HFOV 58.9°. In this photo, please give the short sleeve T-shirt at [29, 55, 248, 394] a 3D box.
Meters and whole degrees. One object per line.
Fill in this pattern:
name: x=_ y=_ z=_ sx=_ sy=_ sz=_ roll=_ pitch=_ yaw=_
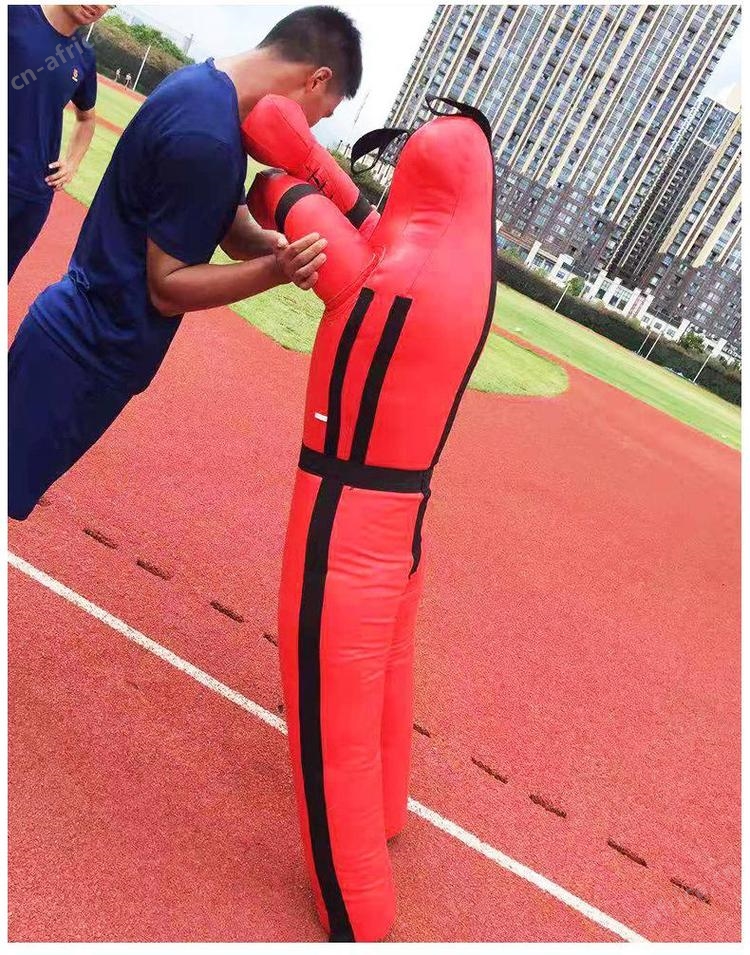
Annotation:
short sleeve T-shirt: x=-0.477 y=-0.512 z=1.344 sx=0.321 sy=0.677 sz=0.235 roll=19 pitch=14 yaw=-21
